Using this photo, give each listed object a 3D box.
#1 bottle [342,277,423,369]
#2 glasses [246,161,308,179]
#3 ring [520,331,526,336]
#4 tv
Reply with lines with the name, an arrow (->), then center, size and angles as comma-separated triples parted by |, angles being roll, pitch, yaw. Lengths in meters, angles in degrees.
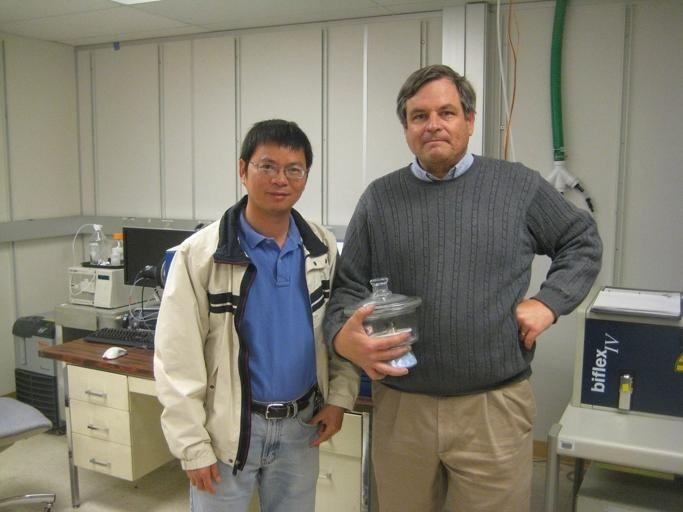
bottle -> 0.117, 0.200, 1.869 | 0.269, 0.278, 0.280 | -5, -1, 1
glasses -> -0.229, -0.305, 1.989 | 0.201, 0.064, 0.064 | -1, 4, -15
ring -> 0.619, 0.266, 1.883 | 0.017, 0.014, 0.018 | 0, 6, 0
tv -> -1.071, 0.002, 3.197 | 0.373, 0.284, 0.042 | 2, 6, 15
